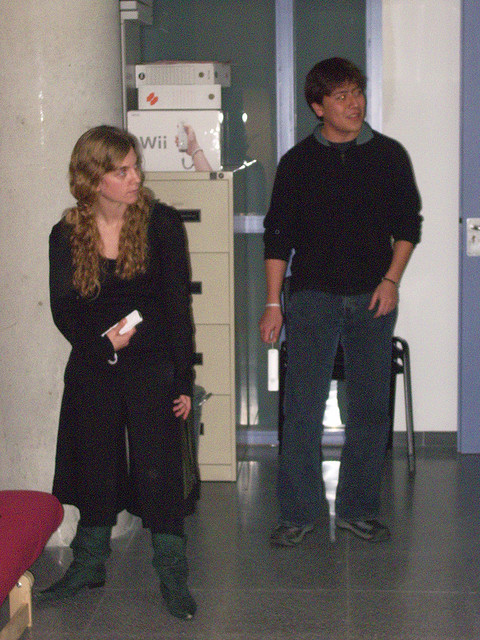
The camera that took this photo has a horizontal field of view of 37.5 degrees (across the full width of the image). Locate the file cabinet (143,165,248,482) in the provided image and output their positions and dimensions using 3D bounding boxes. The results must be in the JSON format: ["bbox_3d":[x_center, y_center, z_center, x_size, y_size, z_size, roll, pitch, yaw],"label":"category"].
[{"bbox_3d":[-0.457,0.064,3.381,0.704,1.505,0.637,4,9,39],"label":"file cabinet"}]

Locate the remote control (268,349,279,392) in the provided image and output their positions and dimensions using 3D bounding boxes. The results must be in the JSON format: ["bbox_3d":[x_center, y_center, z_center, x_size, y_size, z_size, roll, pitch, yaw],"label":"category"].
[{"bbox_3d":[0.180,0.277,3.948,0.039,0.246,0.063,-4,5,-42],"label":"remote control"}]

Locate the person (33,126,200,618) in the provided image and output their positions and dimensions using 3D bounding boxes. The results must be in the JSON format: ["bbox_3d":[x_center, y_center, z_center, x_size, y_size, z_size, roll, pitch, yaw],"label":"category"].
[{"bbox_3d":[-0.335,0.047,1.959,0.396,1.124,0.187,-1,4,-7],"label":"person"}]

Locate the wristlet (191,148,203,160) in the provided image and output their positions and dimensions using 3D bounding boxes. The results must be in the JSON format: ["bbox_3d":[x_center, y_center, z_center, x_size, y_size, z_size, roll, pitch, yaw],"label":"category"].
[{"bbox_3d":[-0.214,-0.806,3.417,0.034,0.050,0.015,-4,-15,23],"label":"wristlet"}]

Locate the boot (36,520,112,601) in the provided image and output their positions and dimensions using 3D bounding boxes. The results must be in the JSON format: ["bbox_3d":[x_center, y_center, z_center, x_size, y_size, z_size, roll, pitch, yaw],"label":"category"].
[{"bbox_3d":[-0.519,0.739,2.189,0.225,0.247,0.147,-2,4,-16],"label":"boot"}]

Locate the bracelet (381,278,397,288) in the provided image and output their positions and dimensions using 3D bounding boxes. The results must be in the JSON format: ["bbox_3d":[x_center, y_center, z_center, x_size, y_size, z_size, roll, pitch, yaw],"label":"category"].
[{"bbox_3d":[0.520,-0.133,2.464,0.054,0.034,0.043,0,5,12],"label":"bracelet"}]

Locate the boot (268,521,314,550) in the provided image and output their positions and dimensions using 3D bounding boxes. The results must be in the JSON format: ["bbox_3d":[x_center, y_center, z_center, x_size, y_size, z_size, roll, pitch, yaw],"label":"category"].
[{"bbox_3d":[0.184,0.776,2.606,0.117,0.047,0.076,-18,16,-40],"label":"boot"}]

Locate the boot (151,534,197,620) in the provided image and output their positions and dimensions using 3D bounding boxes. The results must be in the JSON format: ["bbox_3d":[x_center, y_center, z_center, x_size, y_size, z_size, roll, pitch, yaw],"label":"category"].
[{"bbox_3d":[-0.192,0.731,2.091,0.151,0.266,0.109,-2,4,-22],"label":"boot"}]

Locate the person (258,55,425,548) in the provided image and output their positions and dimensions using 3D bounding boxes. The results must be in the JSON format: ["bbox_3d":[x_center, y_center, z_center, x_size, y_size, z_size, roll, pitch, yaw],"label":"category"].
[{"bbox_3d":[0.358,-0.051,2.559,0.573,1.731,0.234,1,4,16],"label":"person"}]

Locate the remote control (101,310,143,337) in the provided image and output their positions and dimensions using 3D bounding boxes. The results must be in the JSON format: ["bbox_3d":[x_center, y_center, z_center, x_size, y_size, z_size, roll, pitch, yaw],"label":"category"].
[{"bbox_3d":[-0.313,0.023,1.863,0.060,0.106,0.025,51,16,24],"label":"remote control"}]

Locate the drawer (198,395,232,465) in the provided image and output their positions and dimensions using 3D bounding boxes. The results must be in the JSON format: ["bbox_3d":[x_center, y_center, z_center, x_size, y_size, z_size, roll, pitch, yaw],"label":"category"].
[{"bbox_3d":[-0.122,0.545,3.387,0.199,0.385,0.204,-3,-11,16],"label":"drawer"}]
